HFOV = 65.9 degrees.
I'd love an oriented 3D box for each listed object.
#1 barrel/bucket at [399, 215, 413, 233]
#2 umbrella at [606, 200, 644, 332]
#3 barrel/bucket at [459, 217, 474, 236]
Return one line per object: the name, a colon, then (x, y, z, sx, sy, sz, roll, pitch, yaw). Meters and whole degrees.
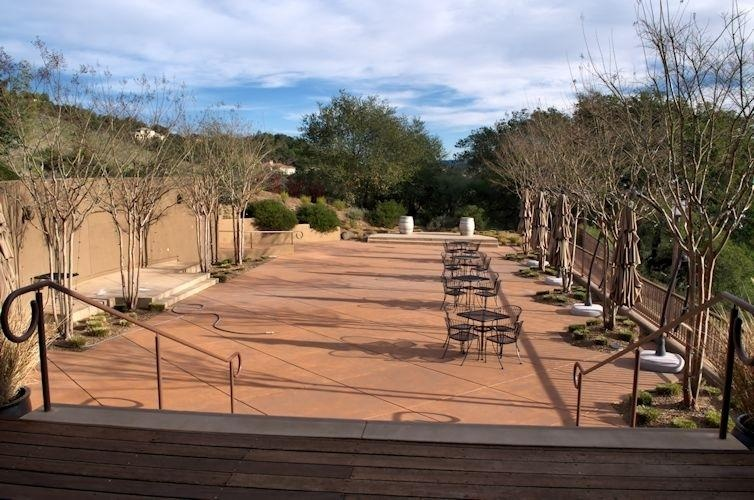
barrel/bucket: (1.630, -1.399, 32.405, 0.682, 0.946, 0.733, 1, 14, 0)
umbrella: (5.486, 0.106, 12.723, 0.584, 2.352, 0.766, 3, 14, 11)
barrel/bucket: (5.108, -1.347, 32.505, 0.953, 0.938, 0.950, 0, 6, 0)
